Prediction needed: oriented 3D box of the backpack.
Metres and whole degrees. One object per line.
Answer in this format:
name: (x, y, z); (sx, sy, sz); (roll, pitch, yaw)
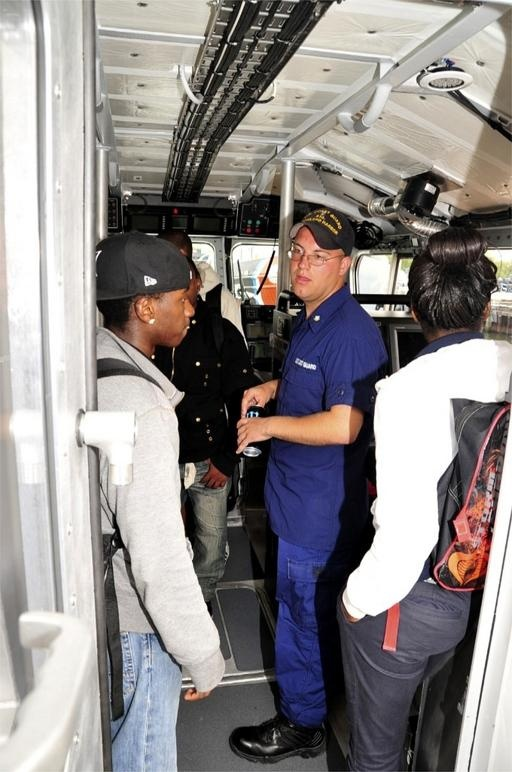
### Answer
backpack: (0.547, 0.305, 1.466); (0.148, 0.529, 0.171); (5, 11, 19)

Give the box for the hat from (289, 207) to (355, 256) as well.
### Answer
hat: (0.322, -0.700, 2.604); (0.198, 0.151, 0.275); (36, 9, 39)

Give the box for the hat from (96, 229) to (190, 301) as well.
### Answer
hat: (-0.300, -0.306, 1.521); (0.245, 0.140, 0.174); (4, 25, -5)
